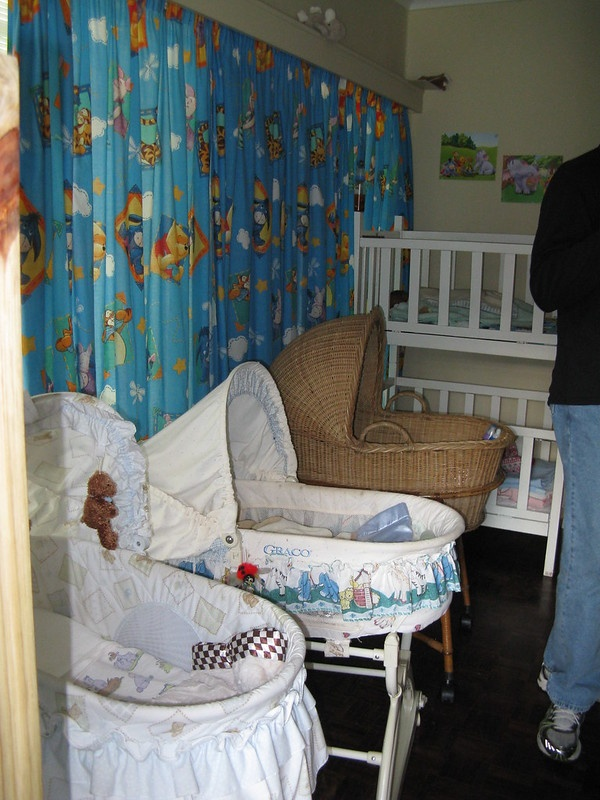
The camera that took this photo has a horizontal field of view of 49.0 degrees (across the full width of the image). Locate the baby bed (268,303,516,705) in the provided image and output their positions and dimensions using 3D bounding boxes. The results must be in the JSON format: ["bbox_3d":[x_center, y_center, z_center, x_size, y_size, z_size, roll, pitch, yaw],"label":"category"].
[{"bbox_3d":[0.304,0.336,2.390,0.843,1.234,0.523,0,5,20],"label":"baby bed"}]

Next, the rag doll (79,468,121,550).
[{"bbox_3d":[-0.459,0.254,1.495,0.079,0.212,0.092,-4,9,-20],"label":"rag doll"}]

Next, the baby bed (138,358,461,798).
[{"bbox_3d":[-0.006,0.326,1.849,1.017,0.948,0.720,2,16,16],"label":"baby bed"}]

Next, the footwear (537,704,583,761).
[{"bbox_3d":[0.626,0.795,1.578,0.070,0.075,0.168,4,12,13],"label":"footwear"}]
